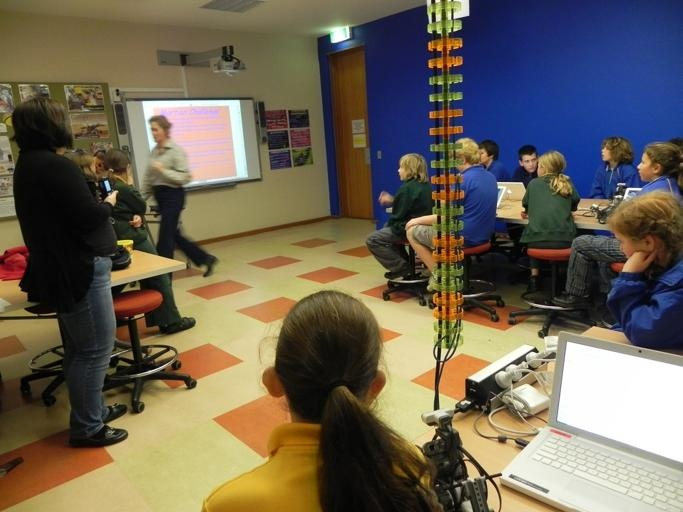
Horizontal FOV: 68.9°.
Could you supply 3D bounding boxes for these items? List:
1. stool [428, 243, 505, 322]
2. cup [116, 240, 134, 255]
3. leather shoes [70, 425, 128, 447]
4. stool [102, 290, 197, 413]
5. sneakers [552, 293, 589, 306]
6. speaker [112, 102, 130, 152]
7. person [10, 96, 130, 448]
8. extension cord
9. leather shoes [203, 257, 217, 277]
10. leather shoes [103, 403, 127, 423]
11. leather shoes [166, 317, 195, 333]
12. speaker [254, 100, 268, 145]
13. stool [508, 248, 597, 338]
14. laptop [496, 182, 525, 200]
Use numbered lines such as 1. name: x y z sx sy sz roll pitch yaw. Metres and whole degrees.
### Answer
1. stool: 1.163 0.230 4.632 0.674 0.633 0.658 -16 10 -26
2. cup: -1.520 -0.065 3.506 0.142 0.090 0.165 -9 11 -41
3. leather shoes: -1.440 1.056 2.995 0.318 0.115 0.127 -1 7 -13
4. stool: -1.441 0.622 3.533 0.749 0.653 0.734 -2 9 13
5. sneakers: 1.847 0.347 4.018 0.246 0.098 0.112 5 13 8
6. speaker: -3.013 -1.873 6.793 0.133 0.438 0.107 -5 28 -14
7. person: -1.497 0.149 2.771 0.525 1.976 0.313 -10 18 -21
8. extension cord: 0.627 0.445 1.977 0.505 0.135 0.125 -24 33 -32
9. leather shoes: -1.603 0.131 6.053 0.131 0.228 0.236 2 39 1
10. leather shoes: -1.453 0.996 3.206 0.065 0.065 0.182 6 15 23
11. leather shoes: -1.439 0.600 4.490 0.275 0.105 0.091 -18 27 -41
12. speaker: -1.318 -2.204 8.251 0.070 0.674 0.194 12 22 40
13. stool: 1.749 0.259 4.130 0.682 0.632 0.565 -12 9 -18
14. laptop: 1.812 -0.704 5.326 0.339 0.194 0.234 6 14 32
